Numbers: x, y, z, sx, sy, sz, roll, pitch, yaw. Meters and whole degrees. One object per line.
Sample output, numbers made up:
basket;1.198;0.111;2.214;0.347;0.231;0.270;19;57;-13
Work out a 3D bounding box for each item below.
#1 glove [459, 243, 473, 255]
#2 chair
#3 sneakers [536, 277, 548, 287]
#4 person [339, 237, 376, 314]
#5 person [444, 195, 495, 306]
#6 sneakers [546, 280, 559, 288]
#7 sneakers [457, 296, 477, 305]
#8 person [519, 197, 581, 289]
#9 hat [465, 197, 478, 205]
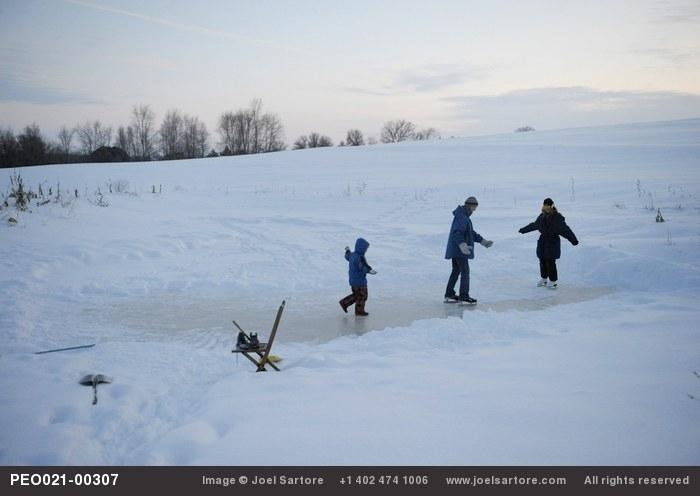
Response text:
glove;1.923;0.021;10.364;0.222;0.163;0.078;41;-8;7
chair;-1.193;1.218;7.954;0.760;0.855;0.495;-7;-3;-7
sneakers;3.587;0.629;11.595;0.173;0.121;0.295;-2;-3;19
person;0.127;0.393;10.479;0.575;1.225;1.488;-1;15;2
person;1.897;0.042;10.651;0.543;1.725;0.837;0;15;8
sneakers;3.698;0.648;11.426;0.096;0.120;0.279;-6;14;-39
sneakers;1.969;0.876;10.470;0.321;0.120;0.122;1;4;0
person;3.739;-0.105;11.613;0.769;1.561;0.982;-1;15;2
hat;2.129;-0.802;10.755;0.255;0.113;0.253;5;4;34
